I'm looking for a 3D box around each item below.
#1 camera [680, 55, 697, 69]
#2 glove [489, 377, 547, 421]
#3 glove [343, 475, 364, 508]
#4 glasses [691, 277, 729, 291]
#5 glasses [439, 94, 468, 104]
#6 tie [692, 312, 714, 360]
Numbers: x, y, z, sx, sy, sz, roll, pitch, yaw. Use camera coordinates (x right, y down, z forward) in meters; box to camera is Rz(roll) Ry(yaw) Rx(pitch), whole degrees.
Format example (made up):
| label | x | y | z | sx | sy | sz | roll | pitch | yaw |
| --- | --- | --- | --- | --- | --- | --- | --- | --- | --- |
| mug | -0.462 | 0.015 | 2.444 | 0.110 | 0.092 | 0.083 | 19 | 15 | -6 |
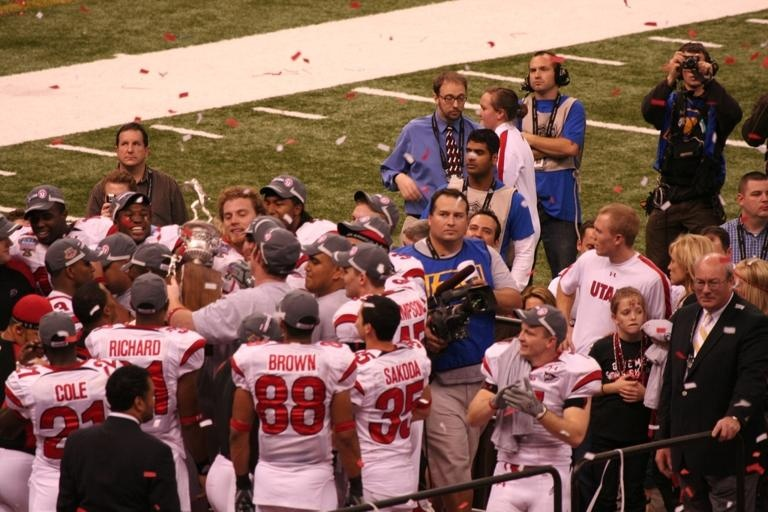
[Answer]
| label | x | y | z | sx | sy | sz | roll | pitch | yaw |
| --- | --- | --- | --- | --- | --- | --- | --- | --- | --- |
| camera | 3.482 | -2.172 | 11.713 | 0.203 | 0.166 | 0.140 | 2 | 10 | 5 |
| glove | 1.144 | 1.202 | 8.624 | 0.377 | 0.161 | 0.500 | -31 | 19 | -23 |
| glove | -0.254 | 1.961 | 8.605 | 0.136 | 0.327 | 0.349 | -2 | 5 | -3 |
| glasses | 2.913 | 0.254 | 9.099 | 0.296 | 0.101 | 0.083 | 0 | 5 | 11 |
| glasses | 0.772 | -1.710 | 11.388 | 0.272 | 0.088 | 0.099 | -2 | 5 | -21 |
| tie | 2.866 | 0.699 | 9.226 | 0.173 | 0.370 | 0.146 | 0 | 5 | 14 |
